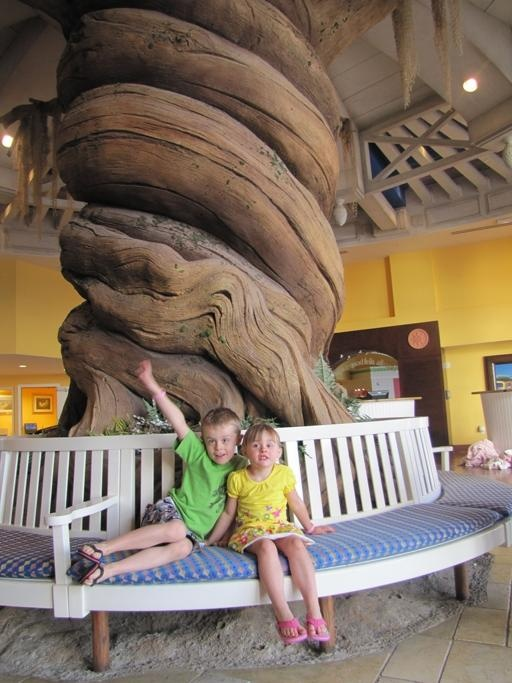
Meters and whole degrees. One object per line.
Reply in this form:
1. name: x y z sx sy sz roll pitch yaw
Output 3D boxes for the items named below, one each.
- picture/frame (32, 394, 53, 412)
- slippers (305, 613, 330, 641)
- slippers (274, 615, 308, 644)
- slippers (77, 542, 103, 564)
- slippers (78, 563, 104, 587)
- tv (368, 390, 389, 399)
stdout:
1. picture/frame: -5.814 1.672 14.015 0.507 0.451 0.034 -5 -14 -11
2. slippers: 0.177 0.842 1.501 0.060 0.075 0.071 -3 -8 4
3. slippers: 0.103 0.831 1.469 0.070 0.079 0.079 0 -9 -15
4. slippers: -0.515 0.664 1.610 0.072 0.054 0.107 0 -8 -13
5. slippers: -0.495 0.705 1.564 0.071 0.059 0.034 0 -9 -18
6. tv: 2.198 0.962 9.298 0.311 0.123 0.721 -3 -8 9
